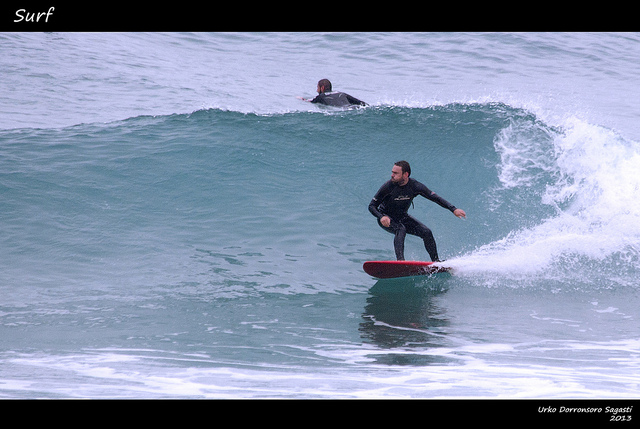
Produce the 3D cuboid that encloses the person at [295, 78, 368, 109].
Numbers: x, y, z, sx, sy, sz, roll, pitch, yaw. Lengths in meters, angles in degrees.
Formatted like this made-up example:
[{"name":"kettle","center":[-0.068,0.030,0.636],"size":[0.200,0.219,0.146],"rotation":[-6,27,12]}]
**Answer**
[{"name":"person","center":[0.603,-3.273,25.217],"size":[1.458,0.512,2.053],"rotation":[-13,29,-37]}]
